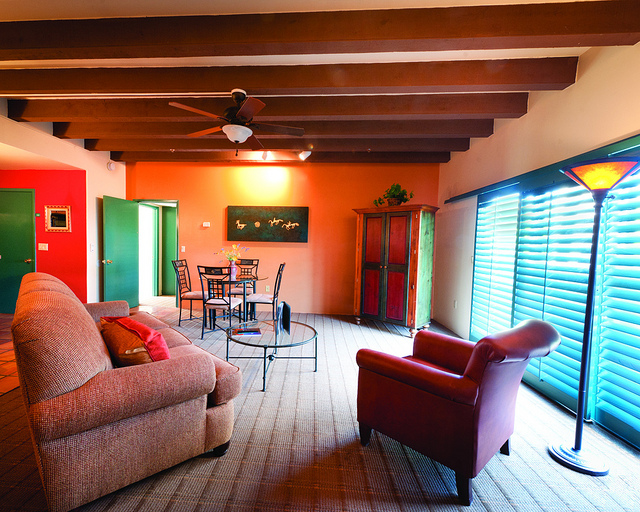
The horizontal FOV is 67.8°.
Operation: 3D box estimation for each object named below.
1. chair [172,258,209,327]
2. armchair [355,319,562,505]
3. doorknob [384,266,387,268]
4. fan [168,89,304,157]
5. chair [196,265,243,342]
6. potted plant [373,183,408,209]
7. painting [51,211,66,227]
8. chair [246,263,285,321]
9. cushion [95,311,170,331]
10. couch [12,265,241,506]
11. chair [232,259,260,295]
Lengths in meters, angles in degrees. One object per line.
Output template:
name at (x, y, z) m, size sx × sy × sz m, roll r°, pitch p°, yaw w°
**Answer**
chair at (-1.704, 0.510, 6.451) m, size 0.529 × 0.851 × 0.468 m, roll 3°, pitch 5°, yaw 1°
armchair at (1.128, 1.005, 3.992) m, size 1.514 × 1.410 × 1.285 m, roll 2°, pitch 2°, yaw 44°
doorknob at (0.859, 0.147, 6.335) m, size 0.029 × 0.021 × 0.029 m, roll 1°, pitch 1°, yaw 3°
fan at (-0.763, -1.276, 4.809) m, size 1.222 × 0.529 × 0.859 m, roll 10°, pitch -1°, yaw 17°
chair at (-1.283, 0.557, 6.078) m, size 0.502 × 0.886 × 0.564 m, roll -1°, pitch 6°, yaw -10°
potted plant at (0.964, -0.799, 6.559) m, size 0.484 × 0.329 × 0.488 m, roll 3°, pitch 4°, yaw 22°
painting at (-3.578, -0.498, 6.481) m, size 0.198 × 0.212 × 0.020 m, roll -1°, pitch 3°, yaw -7°
chair at (-0.753, 0.493, 6.394) m, size 0.542 × 0.748 × 0.473 m, roll 0°, pitch 3°, yaw 11°
cushion at (-1.723, 0.588, 4.303) m, size 0.293 × 0.071 × 0.278 m, roll 18°, pitch 0°, yaw 39°
couch at (-1.564, 0.901, 3.864) m, size 1.371 × 1.234 × 2.363 m, roll -3°, pitch 8°, yaw -31°
chair at (-1.117, 0.297, 6.823) m, size 0.370 × 0.635 × 0.417 m, roll 2°, pitch -14°, yaw 0°
